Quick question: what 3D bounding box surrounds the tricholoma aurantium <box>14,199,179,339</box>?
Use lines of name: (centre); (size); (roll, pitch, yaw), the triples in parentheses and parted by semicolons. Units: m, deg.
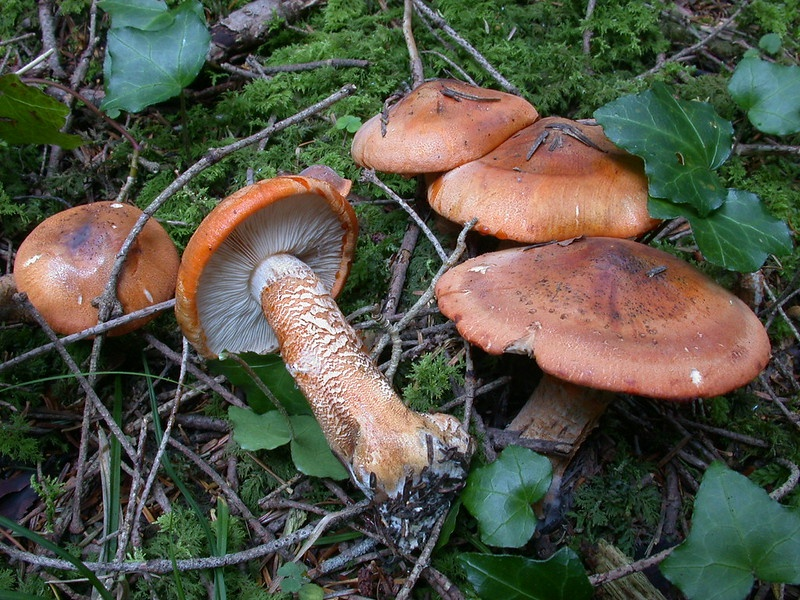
tricholoma aurantium: (-1.729, -0.199, 3.528); (0.868, 0.221, 0.819); (7, 69, 2)
